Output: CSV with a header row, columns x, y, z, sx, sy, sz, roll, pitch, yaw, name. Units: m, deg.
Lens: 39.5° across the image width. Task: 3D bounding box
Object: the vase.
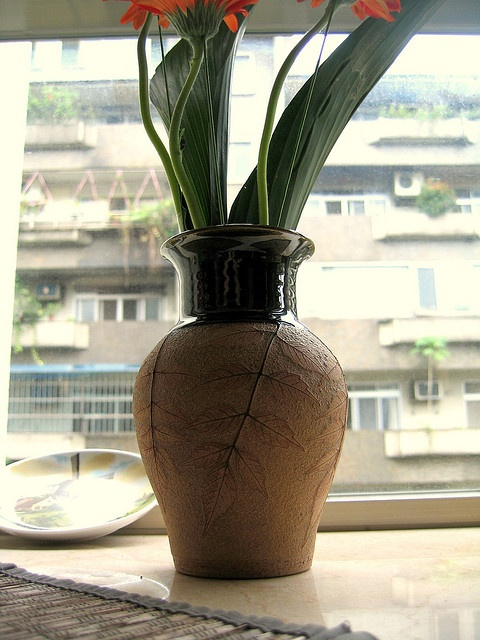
x,y,z,sx,sy,sz,roll,pitch,yaw,name
0.019,0.084,0.716,0.254,0.318,0.235,-7,-12,32,vase
